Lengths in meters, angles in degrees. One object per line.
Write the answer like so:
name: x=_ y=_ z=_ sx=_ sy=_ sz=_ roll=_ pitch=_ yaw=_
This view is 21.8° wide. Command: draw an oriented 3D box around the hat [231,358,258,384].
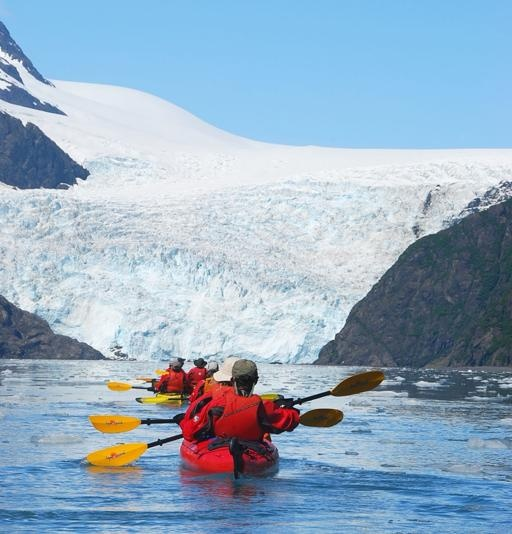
hat: x=-0.237 y=2.483 z=31.515 sx=0.656 sy=0.594 sz=0.406 roll=11 pitch=18 yaw=18
